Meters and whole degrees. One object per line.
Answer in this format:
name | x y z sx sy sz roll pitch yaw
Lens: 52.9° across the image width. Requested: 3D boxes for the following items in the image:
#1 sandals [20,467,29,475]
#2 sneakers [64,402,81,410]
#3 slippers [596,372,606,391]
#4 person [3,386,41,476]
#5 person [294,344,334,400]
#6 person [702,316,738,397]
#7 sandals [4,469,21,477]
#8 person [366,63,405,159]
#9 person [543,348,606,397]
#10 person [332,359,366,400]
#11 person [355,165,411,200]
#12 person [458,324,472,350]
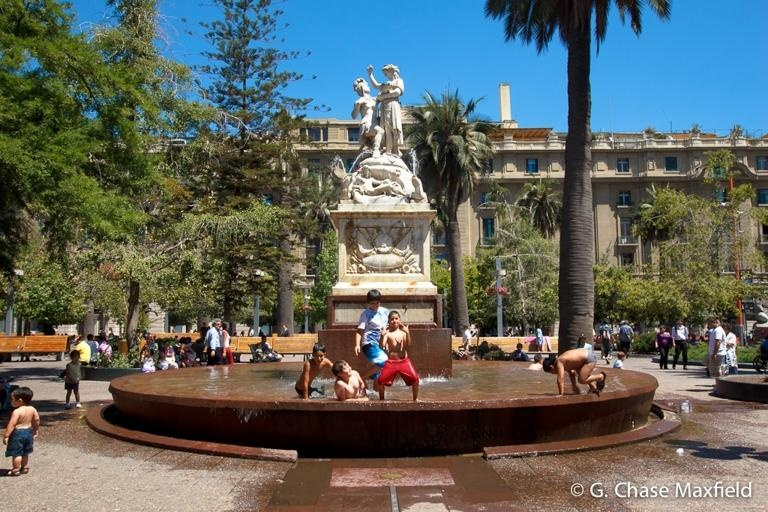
sandals | -7.246 4.272 15.525 0.162 0.111 0.194 -2 4 -29
sneakers | -8.539 4.058 21.068 0.561 0.266 0.191 -5 -9 3
slippers | 4.839 2.778 17.235 0.163 0.396 0.144 6 6 -9
person | -7.431 3.516 15.789 0.626 1.613 0.945 -2 4 -26
person | -1.456 2.589 16.965 0.874 1.284 0.853 -2 20 -31
person | 11.566 3.188 26.389 0.785 2.126 1.351 1 4 17
sandals | -7.458 4.319 15.458 0.236 0.095 0.126 4 -11 -2
person | 0.139 -4.134 22.034 0.743 2.521 0.803 -2 4 -29
person | 4.266 2.575 17.159 1.480 1.022 1.151 -3 5 -41
person | -0.735 2.638 16.513 0.732 0.813 0.612 -2 4 -19
person | -0.164 -2.082 21.140 1.539 0.770 1.049 -4 33 4
person | 3.948 3.917 37.789 0.755 0.626 1.722 -4 29 8
